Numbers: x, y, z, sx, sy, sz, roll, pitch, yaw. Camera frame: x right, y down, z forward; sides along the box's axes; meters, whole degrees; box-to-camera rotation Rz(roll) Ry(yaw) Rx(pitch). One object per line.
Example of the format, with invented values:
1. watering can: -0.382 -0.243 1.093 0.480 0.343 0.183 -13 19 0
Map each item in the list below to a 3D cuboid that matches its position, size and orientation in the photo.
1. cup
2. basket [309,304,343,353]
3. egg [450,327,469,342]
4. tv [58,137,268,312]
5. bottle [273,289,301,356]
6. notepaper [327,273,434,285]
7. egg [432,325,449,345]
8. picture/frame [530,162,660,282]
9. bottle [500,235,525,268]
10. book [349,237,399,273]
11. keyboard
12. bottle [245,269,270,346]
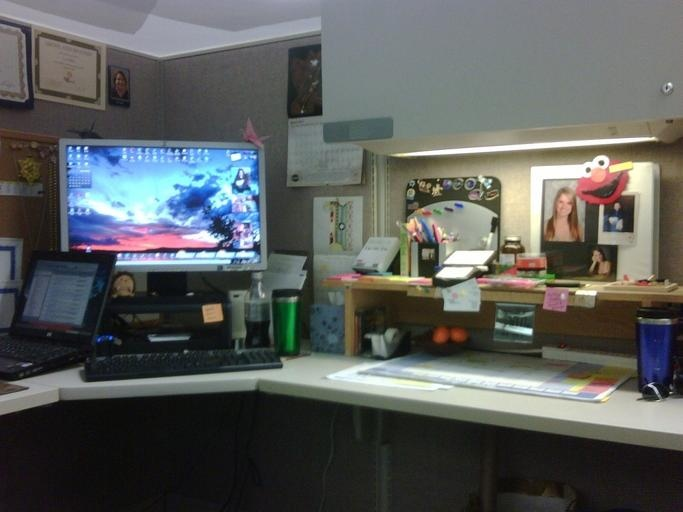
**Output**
1. cup: 0.784 0.239 1.419 0.093 0.214 0.094 0 1 0
2. basket: -0.051 0.239 1.895 0.131 0.155 0.065 1 1 14
3. egg: 0.380 0.256 1.841 0.039 0.041 0.053 -12 9 1
4. tv: -0.605 -0.114 1.911 0.588 0.414 0.169 0 -5 -7
5. bottle: -0.175 0.214 1.832 0.086 0.208 0.042 0 1 -14
6. notepaper: 0.144 0.073 1.846 0.359 0.026 0.134 1 1 31
7. egg: 0.320 0.253 1.834 0.048 0.048 0.047 17 2 12
8. picture/frame: 0.753 -0.084 1.800 0.368 0.357 0.130 -1 2 -3
9. bottle: 0.532 -0.016 1.785 0.069 0.092 0.154 1 1 17
10. book: 0.120 -0.001 1.918 0.141 0.118 0.081 1 1 29
11. keyboard: -0.454 0.309 1.670 0.542 0.056 0.179 0 1 -13
12. bottle: -0.283 0.192 1.944 0.091 0.297 0.090 0 6 0
